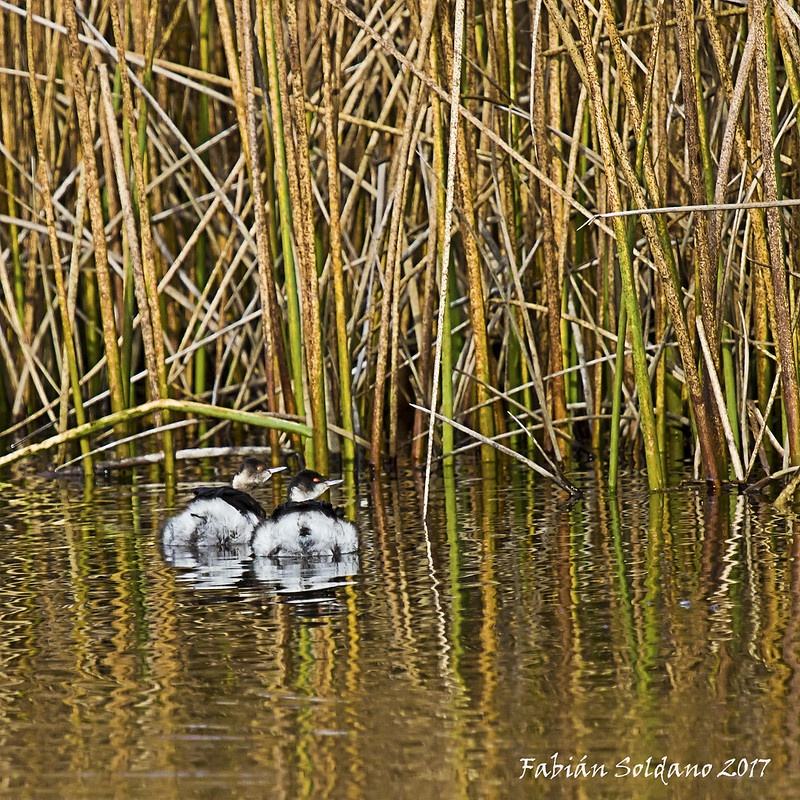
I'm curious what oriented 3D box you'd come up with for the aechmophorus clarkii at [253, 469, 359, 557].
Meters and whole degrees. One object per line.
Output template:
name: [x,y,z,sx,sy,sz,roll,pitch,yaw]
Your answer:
aechmophorus clarkii: [-0.306,0.400,4.564,0.190,0.197,0.362,1,24,2]
